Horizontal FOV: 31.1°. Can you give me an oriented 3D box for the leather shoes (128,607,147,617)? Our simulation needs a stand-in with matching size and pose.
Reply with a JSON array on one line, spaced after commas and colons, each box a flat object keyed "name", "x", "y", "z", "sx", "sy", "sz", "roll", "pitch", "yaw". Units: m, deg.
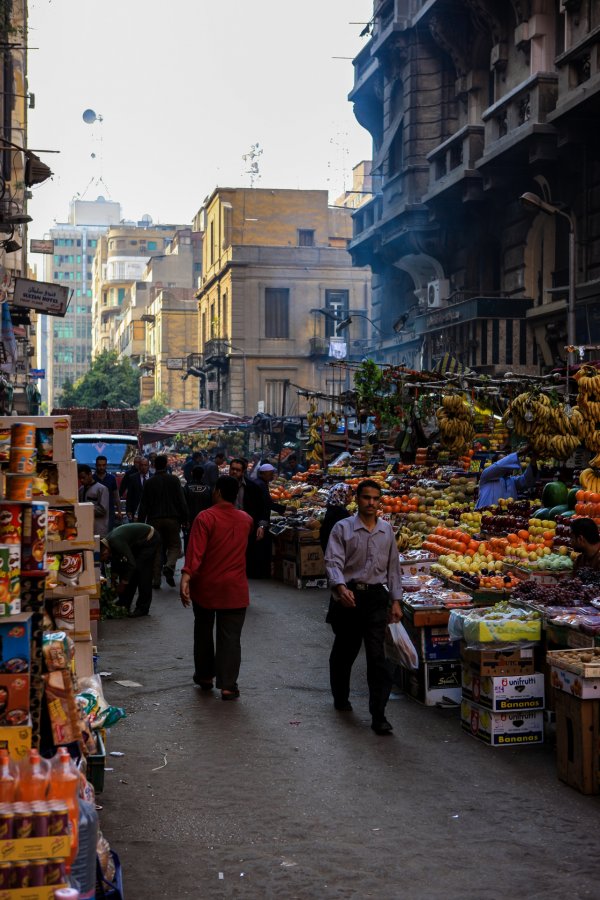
[{"name": "leather shoes", "x": -1.943, "y": 1.949, "z": 12.881, "sx": 0.231, "sy": 0.093, "sz": 0.383, "roll": 1, "pitch": -1, "yaw": -10}]

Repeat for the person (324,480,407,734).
[{"name": "person", "x": 0.448, "y": 1.206, "z": 7.754, "sx": 0.543, "sy": 1.515, "sz": 0.884, "roll": 0, "pitch": -2, "yaw": 4}]

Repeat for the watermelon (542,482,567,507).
[{"name": "watermelon", "x": 2.870, "y": 0.526, "z": 12.195, "sx": 0.241, "sy": 0.350, "sz": 0.253, "roll": 1, "pitch": -2, "yaw": -2}]

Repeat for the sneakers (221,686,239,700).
[{"name": "sneakers", "x": -0.554, "y": 1.923, "z": 8.460, "sx": 0.146, "sy": 0.074, "sz": 0.268, "roll": 1, "pitch": -1, "yaw": -4}]

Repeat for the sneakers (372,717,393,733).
[{"name": "sneakers", "x": 0.562, "y": 1.896, "z": 7.341, "sx": 0.063, "sy": 0.083, "sz": 0.176, "roll": 0, "pitch": -10, "yaw": -6}]

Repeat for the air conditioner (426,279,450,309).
[{"name": "air conditioner", "x": 4.393, "y": -4.879, "z": 34.193, "sx": 0.522, "sy": 1.115, "sz": 1.084, "roll": 2, "pitch": -10, "yaw": -6}]

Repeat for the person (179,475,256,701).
[{"name": "person", "x": -0.671, "y": 1.103, "z": 8.582, "sx": 0.544, "sy": 1.754, "sz": 0.838, "roll": 0, "pitch": -2, "yaw": -3}]
